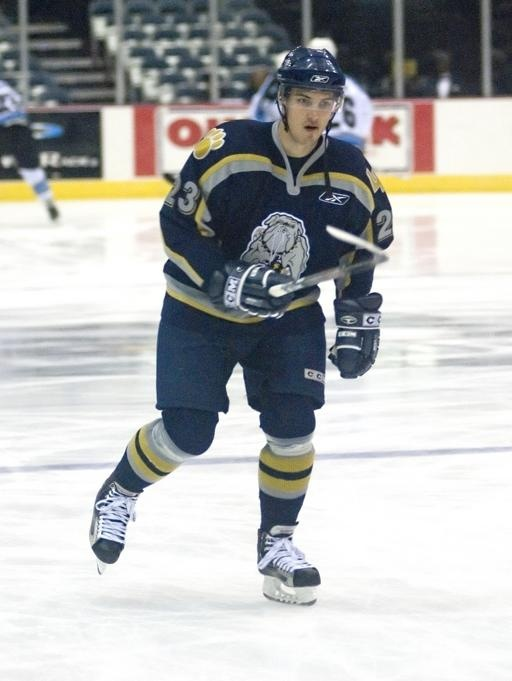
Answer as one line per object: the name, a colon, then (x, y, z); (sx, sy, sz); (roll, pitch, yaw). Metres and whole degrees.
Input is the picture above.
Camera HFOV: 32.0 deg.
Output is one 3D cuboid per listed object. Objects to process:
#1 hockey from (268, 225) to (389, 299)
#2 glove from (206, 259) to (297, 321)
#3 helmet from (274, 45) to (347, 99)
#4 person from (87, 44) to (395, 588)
hockey: (0.139, -0.129, 1.576); (0.108, 0.006, 0.273); (9, -13, -17)
glove: (-0.010, -0.082, 1.586); (0.148, 0.084, 0.053); (10, 30, 16)
helmet: (0.103, -0.489, 1.652); (0.111, 0.096, 0.120); (1, -2, -13)
person: (-0.044, -0.030, 1.708); (0.541, 1.047, 0.337); (4, 13, 15)
